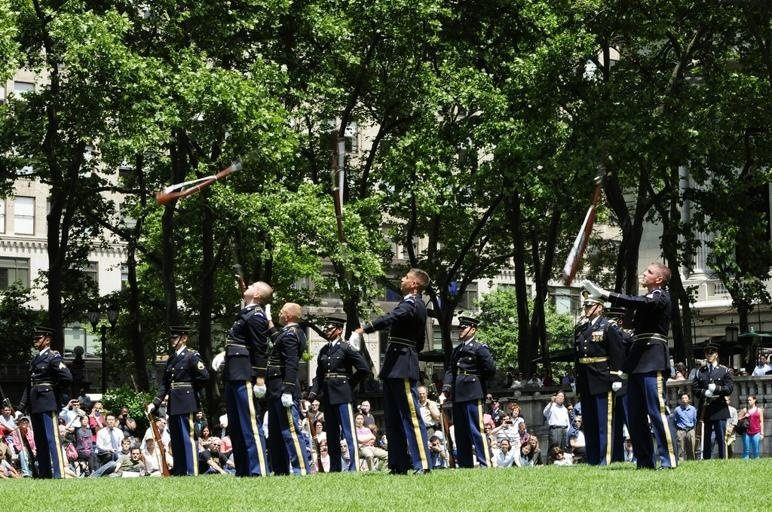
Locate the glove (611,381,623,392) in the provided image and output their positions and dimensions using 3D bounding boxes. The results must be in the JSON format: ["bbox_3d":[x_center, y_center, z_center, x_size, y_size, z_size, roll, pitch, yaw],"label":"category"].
[{"bbox_3d":[6.619,3.817,56.636,0.317,0.270,0.074,-14,-3,19],"label":"glove"}]

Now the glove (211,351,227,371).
[{"bbox_3d":[-4.703,3.073,57.450,0.227,0.702,0.545,33,-11,-23],"label":"glove"}]

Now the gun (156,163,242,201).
[{"bbox_3d":[-5.559,-1.996,58.461,3.393,0.652,0.494,-21,-45,32],"label":"gun"}]

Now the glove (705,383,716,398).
[{"bbox_3d":[9.857,4.163,59.996,0.172,0.425,0.358,4,-4,-1],"label":"glove"}]

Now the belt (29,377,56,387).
[{"bbox_3d":[-9.947,3.747,57.414,0.627,0.189,0.097,-2,-9,-8],"label":"belt"}]

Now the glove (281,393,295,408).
[{"bbox_3d":[-2.771,4.154,55.843,0.337,0.357,0.436,-3,-9,-2],"label":"glove"}]

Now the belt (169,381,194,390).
[{"bbox_3d":[-5.896,3.820,57.243,0.609,0.192,0.095,-2,-9,-3],"label":"belt"}]

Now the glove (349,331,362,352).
[{"bbox_3d":[-0.830,2.304,54.342,0.411,0.392,0.489,-2,-38,3],"label":"glove"}]

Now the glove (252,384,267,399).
[{"bbox_3d":[-3.522,3.883,55.588,0.413,0.304,0.389,2,-16,-4],"label":"glove"}]

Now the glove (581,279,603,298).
[{"bbox_3d":[5.590,0.949,53.698,0.517,0.147,0.511,34,-18,8],"label":"glove"}]
